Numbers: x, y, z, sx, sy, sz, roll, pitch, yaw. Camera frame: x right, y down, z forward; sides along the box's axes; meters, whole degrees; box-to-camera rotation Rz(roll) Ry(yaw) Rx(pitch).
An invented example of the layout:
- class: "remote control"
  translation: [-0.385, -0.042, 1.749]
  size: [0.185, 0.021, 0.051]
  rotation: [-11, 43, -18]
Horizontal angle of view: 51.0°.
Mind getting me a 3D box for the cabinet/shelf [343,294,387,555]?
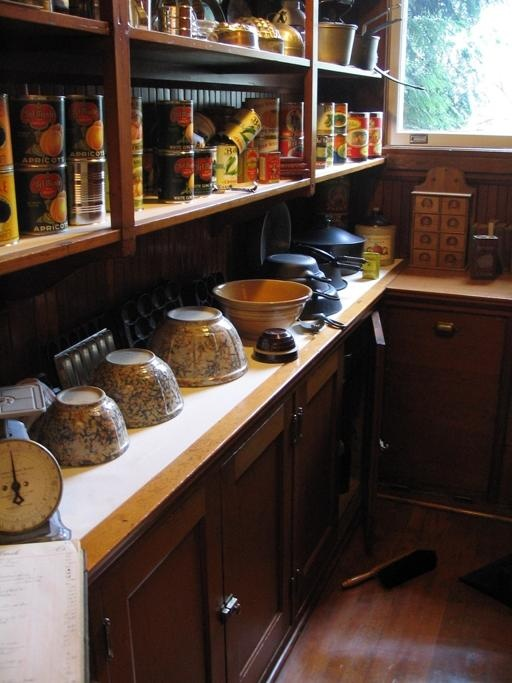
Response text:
- class: "cabinet/shelf"
  translation: [0.419, 0.324, 2.122]
  size: [0.165, 0.921, 0.586]
  rotation: [3, 20, 10]
